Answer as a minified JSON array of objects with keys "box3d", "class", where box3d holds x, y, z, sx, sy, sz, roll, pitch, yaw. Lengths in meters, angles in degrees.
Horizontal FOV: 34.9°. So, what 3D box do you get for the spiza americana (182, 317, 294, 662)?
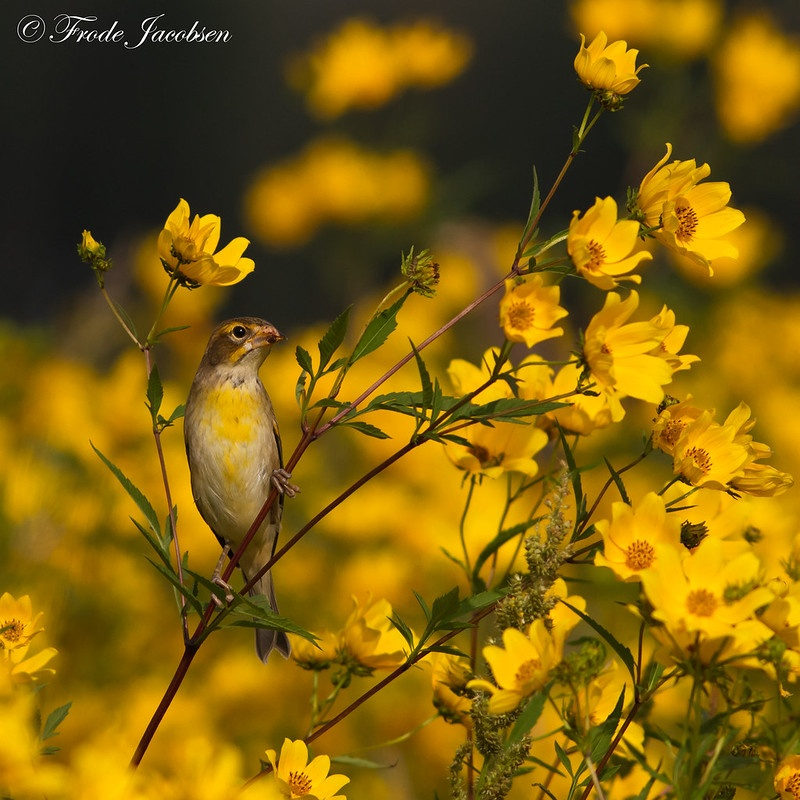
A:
[{"box3d":[-0.333,0.205,2.597,0.205,0.744,0.413,-3,10,-3],"class":"spiza americana"}]
